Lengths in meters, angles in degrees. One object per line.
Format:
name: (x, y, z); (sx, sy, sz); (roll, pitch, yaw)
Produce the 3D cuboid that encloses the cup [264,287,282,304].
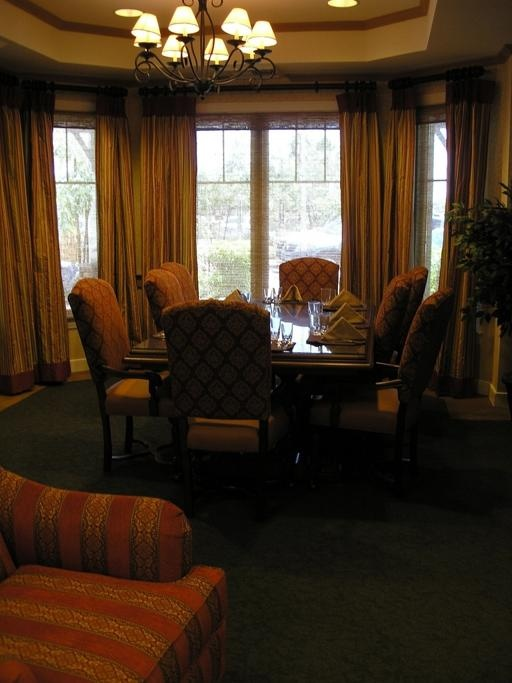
cup: (0.106, -0.306, 3.710); (0.119, 0.103, 0.139); (3, 16, 15)
